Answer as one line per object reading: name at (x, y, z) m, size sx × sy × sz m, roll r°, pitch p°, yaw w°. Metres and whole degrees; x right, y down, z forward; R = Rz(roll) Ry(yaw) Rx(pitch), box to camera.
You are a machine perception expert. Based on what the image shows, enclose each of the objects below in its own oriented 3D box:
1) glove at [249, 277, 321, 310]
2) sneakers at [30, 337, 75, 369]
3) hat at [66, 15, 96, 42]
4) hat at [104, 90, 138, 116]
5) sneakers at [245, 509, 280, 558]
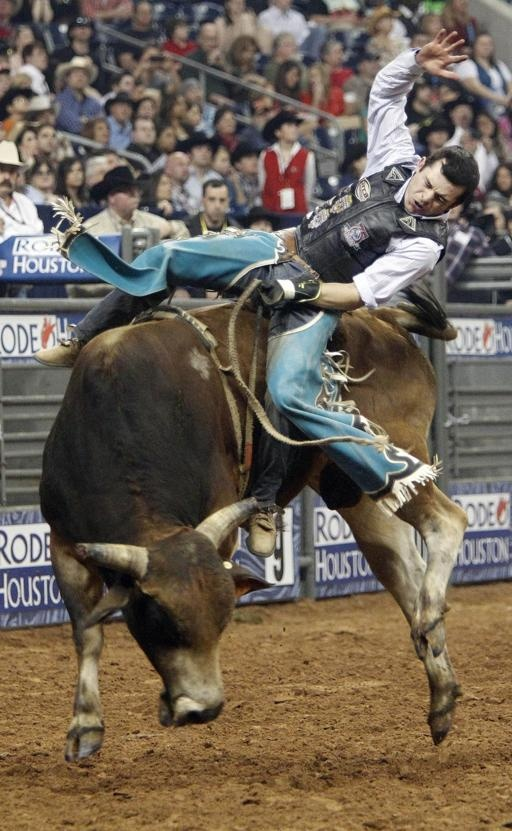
glove at (0.141, -0.480, 4.509) m, size 0.179 × 0.138 × 0.081 m, roll -5°, pitch -37°, yaw 11°
sneakers at (-0.854, -0.263, 4.732) m, size 0.240 × 0.094 × 0.086 m, roll 2°, pitch 6°, yaw 8°
hat at (-1.785, -3.917, 11.419) m, size 0.257 × 0.288 × 0.294 m, roll -1°, pitch 15°, yaw -4°
hat at (-1.354, -3.084, 11.102) m, size 0.263 × 0.244 × 0.074 m, roll -16°, pitch 16°, yaw -17°
sneakers at (0.027, 0.478, 4.558) m, size 0.088 × 0.099 × 0.254 m, roll 20°, pitch 13°, yaw -7°
